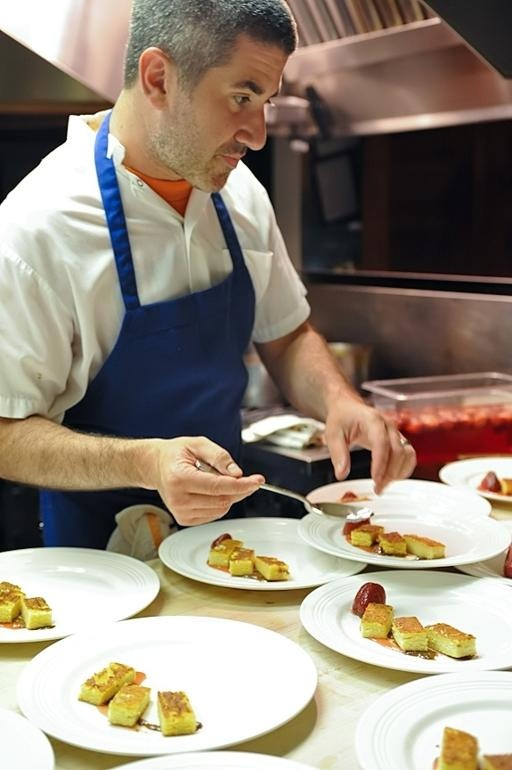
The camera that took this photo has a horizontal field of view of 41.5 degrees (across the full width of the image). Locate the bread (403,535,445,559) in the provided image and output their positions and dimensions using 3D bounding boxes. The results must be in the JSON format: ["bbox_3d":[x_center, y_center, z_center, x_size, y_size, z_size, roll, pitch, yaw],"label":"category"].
[{"bbox_3d":[0.263,0.254,1.057,0.030,0.016,0.045,-3,6,-31],"label":"bread"}]

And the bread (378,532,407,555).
[{"bbox_3d":[0.220,0.257,1.081,0.044,0.029,0.047,-3,6,8],"label":"bread"}]

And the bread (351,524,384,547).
[{"bbox_3d":[0.181,0.241,1.113,0.032,0.020,0.045,4,10,33],"label":"bread"}]

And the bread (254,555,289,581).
[{"bbox_3d":[0.024,0.275,1.000,0.053,0.032,0.051,-4,6,-2],"label":"bread"}]

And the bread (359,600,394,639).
[{"bbox_3d":[0.147,0.289,0.824,0.033,0.028,0.043,-2,6,23],"label":"bread"}]

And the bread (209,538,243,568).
[{"bbox_3d":[-0.053,0.261,1.044,0.027,0.016,0.050,3,7,13],"label":"bread"}]

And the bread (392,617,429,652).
[{"bbox_3d":[0.183,0.294,0.803,0.040,0.027,0.051,-4,6,3],"label":"bread"}]

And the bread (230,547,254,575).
[{"bbox_3d":[-0.022,0.261,1.008,0.030,0.019,0.040,1,13,6],"label":"bread"}]

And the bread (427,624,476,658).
[{"bbox_3d":[0.227,0.280,0.773,0.030,0.024,0.050,-6,4,-30],"label":"bread"}]

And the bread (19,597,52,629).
[{"bbox_3d":[-0.272,0.275,0.828,0.030,0.019,0.041,5,10,-29],"label":"bread"}]

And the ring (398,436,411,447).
[{"bbox_3d":[0.265,0.099,1.201,0.017,0.008,0.022,2,8,-11],"label":"ring"}]
